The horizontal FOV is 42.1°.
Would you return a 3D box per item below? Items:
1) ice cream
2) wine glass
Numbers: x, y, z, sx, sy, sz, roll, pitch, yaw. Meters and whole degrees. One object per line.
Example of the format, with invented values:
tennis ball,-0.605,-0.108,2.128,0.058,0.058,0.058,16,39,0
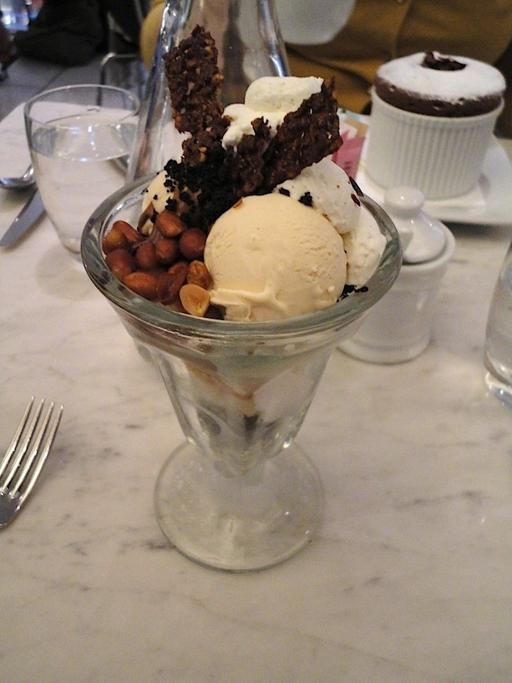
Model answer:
ice cream,-0.015,-0.123,0.498,0.217,0.153,0.237,-25,49,-27
wine glass,-0.012,0.054,0.610,0.237,0.261,0.203,4,29,4
